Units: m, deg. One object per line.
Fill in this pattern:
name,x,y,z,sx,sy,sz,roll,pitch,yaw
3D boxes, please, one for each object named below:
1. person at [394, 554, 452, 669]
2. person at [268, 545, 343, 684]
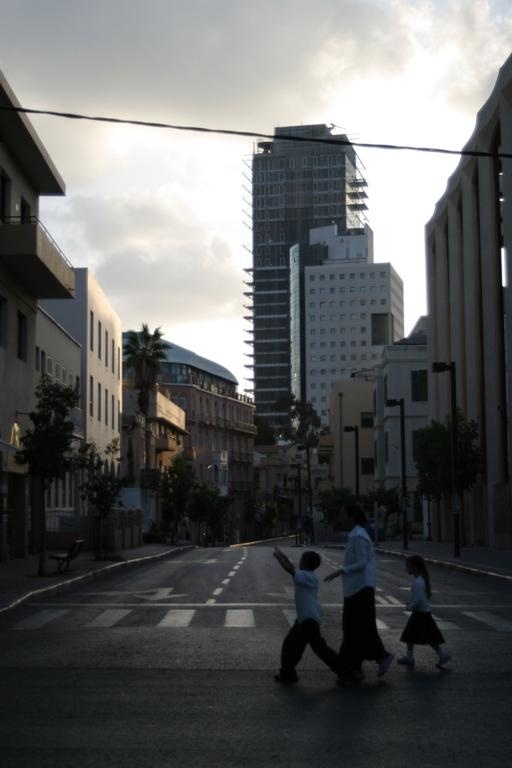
person,1.827,2.494,10.107,0.528,1.170,1.862,-3,-10,10
person,0.468,2.174,8.661,0.605,1.253,1.434,-2,-10,0
